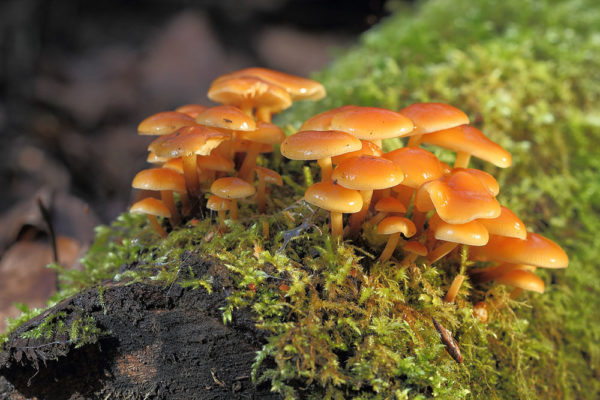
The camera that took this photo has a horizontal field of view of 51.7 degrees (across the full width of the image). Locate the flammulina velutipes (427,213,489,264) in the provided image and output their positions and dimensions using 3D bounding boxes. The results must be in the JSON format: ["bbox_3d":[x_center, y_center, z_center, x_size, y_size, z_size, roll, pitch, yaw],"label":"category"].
[{"bbox_3d":[1.195,0.346,4.871,0.412,0.418,0.375,9,32,-27],"label":"flammulina velutipes"}]

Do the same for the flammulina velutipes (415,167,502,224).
[{"bbox_3d":[1.228,-0.006,4.786,0.521,0.215,0.463,11,32,6],"label":"flammulina velutipes"}]

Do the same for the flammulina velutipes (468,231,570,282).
[{"bbox_3d":[1.774,0.424,4.940,0.548,0.250,0.523,5,-2,12],"label":"flammulina velutipes"}]

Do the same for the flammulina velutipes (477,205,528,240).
[{"bbox_3d":[1.615,0.201,4.861,0.297,0.093,0.303,35,27,19],"label":"flammulina velutipes"}]
